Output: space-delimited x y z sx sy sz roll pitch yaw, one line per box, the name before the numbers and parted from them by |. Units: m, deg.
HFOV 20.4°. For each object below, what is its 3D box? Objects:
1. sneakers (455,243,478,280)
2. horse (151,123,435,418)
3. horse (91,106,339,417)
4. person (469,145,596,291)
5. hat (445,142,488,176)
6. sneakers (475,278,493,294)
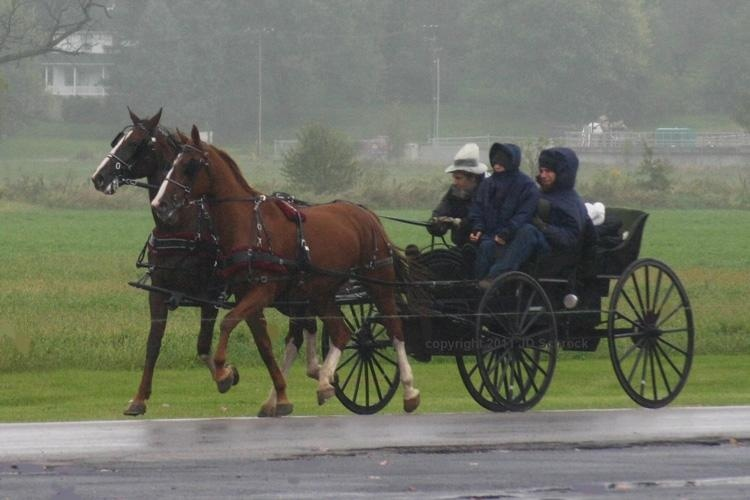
sneakers | 1.163 0.124 26.155 0.180 0.465 0.213 -3 -5 9
horse | -1.147 0.408 25.599 4.359 3.375 1.500 8 -11 -43
horse | -1.670 0.434 26.919 1.412 3.708 5.281 0 -1 17
person | 2.146 -0.534 25.938 1.233 1.546 0.606 0 9 -7
hat | 1.194 -1.228 26.849 0.483 0.237 0.493 -4 -1 -3
sneakers | 1.364 0.414 25.733 0.207 0.119 0.167 -1 -4 6
